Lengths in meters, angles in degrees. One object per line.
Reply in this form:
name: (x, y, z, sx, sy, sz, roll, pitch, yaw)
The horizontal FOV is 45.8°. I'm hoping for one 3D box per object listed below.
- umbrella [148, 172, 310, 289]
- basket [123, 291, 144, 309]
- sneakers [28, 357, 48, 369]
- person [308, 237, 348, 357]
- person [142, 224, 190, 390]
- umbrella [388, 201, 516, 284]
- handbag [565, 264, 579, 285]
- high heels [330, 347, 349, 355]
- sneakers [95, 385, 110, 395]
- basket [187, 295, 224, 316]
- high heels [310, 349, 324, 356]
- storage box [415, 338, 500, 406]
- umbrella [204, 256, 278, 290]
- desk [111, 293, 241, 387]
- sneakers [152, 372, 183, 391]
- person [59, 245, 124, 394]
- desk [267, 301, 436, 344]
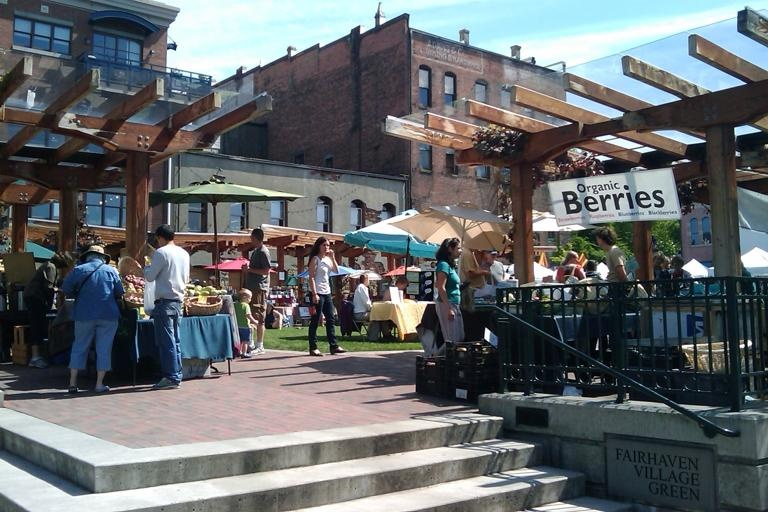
umbrella: (-3.228, -0.766, 17.443, 2.128, 1.347, 1.989, -2, 6, -33)
basket: (-3.808, 0.658, 13.787, 0.295, 0.247, 0.205, 0, -5, -16)
sneakers: (-5.819, 1.791, 15.286, 0.360, 0.158, 0.130, 4, -1, -1)
person: (-1.099, 0.737, 17.122, 0.623, 2.234, 0.997, -1, -5, 0)
person: (-3.276, 0.742, 13.715, 0.641, 2.444, 0.370, 0, -5, -17)
umbrella: (1.398, -0.232, 19.022, 2.338, 0.977, 2.285, 8, -23, 0)
handbag: (3.018, 0.305, 14.659, 0.290, 0.404, 0.239, -1, -2, 27)
high heels: (-0.854, 1.777, 17.163, 0.327, 0.135, 0.116, -4, 2, -7)
sneakers: (-4.172, 1.946, 13.467, 0.204, 0.120, 0.294, 1, -6, -18)
basket: (-2.843, 0.778, 14.291, 0.374, 0.145, 0.336, -6, 10, -24)
high heels: (-1.249, 1.779, 16.755, 0.101, 0.115, 0.302, 5, -13, -30)
storage box: (1.080, 1.664, 13.481, 0.959, 0.572, 0.946, 0, 0, -38)
umbrella: (-5.611, 0.590, 32.560, 2.031, 1.401, 2.010, 0, -7, -4)
desk: (-3.313, 1.299, 14.323, 1.513, 0.834, 1.542, -3, -4, 43)
sneakers: (-3.249, 1.883, 13.704, 0.395, 0.169, 0.210, 2, -3, -3)
person: (-4.399, 0.910, 13.698, 0.878, 2.230, 0.783, 1, -5, -22)
desk: (-0.672, 1.494, 20.394, 1.281, 0.609, 2.049, 0, 0, 41)
